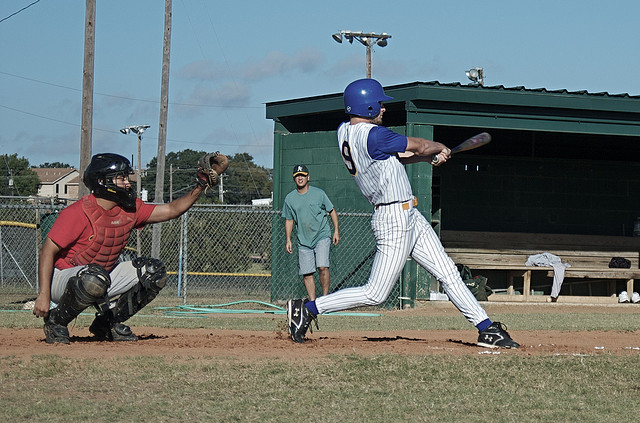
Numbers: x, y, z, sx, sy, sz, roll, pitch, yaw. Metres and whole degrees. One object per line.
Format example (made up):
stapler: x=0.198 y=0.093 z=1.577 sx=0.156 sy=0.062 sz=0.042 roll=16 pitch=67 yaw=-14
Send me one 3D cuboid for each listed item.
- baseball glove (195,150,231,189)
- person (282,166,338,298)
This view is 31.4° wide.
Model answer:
baseball glove: x=-1.396 y=-0.522 z=14.510 sx=0.392 sy=0.461 sz=0.385 roll=1 pitch=-1 yaw=-7
person: x=-0.158 y=0.320 z=18.036 sx=0.886 sy=1.998 sz=1.111 roll=0 pitch=-1 yaw=-1
